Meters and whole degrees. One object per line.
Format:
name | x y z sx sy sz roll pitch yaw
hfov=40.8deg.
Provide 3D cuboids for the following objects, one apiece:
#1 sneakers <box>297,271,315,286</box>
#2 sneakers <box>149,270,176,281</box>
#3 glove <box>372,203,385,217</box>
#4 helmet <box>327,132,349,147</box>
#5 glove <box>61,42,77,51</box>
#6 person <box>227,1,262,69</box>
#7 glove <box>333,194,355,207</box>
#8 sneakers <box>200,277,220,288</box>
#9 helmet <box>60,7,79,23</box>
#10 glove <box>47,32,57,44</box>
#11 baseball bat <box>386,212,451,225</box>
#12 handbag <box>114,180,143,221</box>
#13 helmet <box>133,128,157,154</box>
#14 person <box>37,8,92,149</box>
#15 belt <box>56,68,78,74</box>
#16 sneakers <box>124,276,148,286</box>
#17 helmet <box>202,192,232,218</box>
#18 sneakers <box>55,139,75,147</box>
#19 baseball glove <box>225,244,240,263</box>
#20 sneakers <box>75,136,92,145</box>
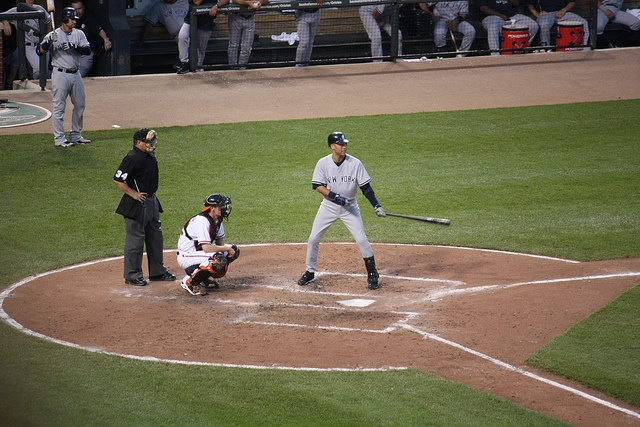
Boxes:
sneakers | -0.208 1.116 14.770 0.145 0.161 0.416 11 18 35
sneakers | -2.717 1.084 15.022 0.486 0.175 0.180 -1 7 -4
glove | 0.994 -0.025 14.693 0.205 0.103 0.154 45 50 8
helmet | 0.300 -1.242 14.522 0.326 0.153 0.214 -2 10 19
glove | -5.351 -3.570 18.411 0.328 0.147 0.125 -4 12 -24
person | -2.046 -4.933 23.856 0.968 1.894 0.999 -1 12 -6
glove | 0.407 -0.218 14.566 0.262 0.087 0.176 30 -25 -1
sneakers | -1.908 1.189 14.646 0.359 0.134 0.123 6 9 16
helmet | -5.410 -4.241 18.464 0.416 0.305 0.367 1 16 3
glove | -5.659 -3.743 18.310 0.159 0.211 0.158 -1 11 -10
baseball bat | 1.926 0.100 16.512 0.972 0.060 0.129 8 -13 -7
handbag | -3.183 -0.210 14.484 0.431 0.639 0.638 -5 13 -41
helmet | -2.938 -1.241 14.708 0.493 0.362 0.385 -1 17 6
person | -5.558 -2.935 18.899 1.026 3.052 0.960 -2 12 -13
belt | -5.452 -3.079 18.630 0.421 0.131 0.091 -2 12 -17
sneakers | -3.098 1.161 14.647 0.390 0.153 0.139 -1 8 13
helmet | -1.707 -0.116 14.539 0.392 0.411 0.415 4 11 15
sneakers | -5.721 -1.576 19.467 0.459 0.158 0.139 -2 21 2
baseball glove | -1.459 0.683 14.590 0.141 0.347 0.153 40 2 -25
sneakers | -5.402 -1.671 19.685 0.374 0.131 0.113 -2 43 -10
